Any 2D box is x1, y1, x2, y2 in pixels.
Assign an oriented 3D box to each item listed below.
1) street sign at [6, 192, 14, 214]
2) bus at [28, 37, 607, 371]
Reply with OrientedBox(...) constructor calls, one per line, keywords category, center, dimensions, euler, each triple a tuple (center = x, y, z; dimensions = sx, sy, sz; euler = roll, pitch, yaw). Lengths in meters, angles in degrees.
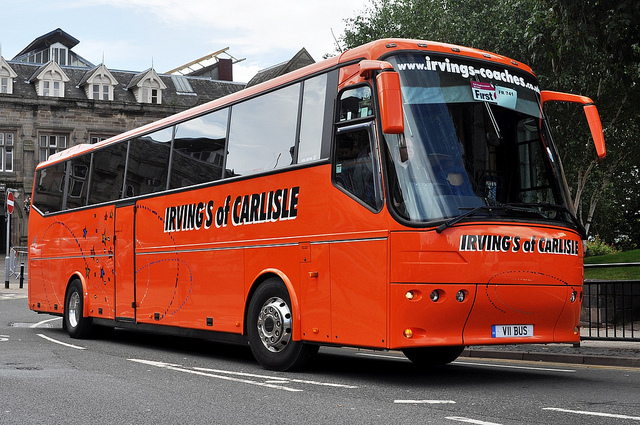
OrientedBox(category="street sign", center=(-15.430, -0.486, 28.340), dimensions=(0.262, 1.093, 0.810), euler=(3, -7, -33))
OrientedBox(category="bus", center=(-2.328, 0.402, 12.567), dimensions=(15.539, 5.057, 3.758), euler=(-6, -8, 43))
